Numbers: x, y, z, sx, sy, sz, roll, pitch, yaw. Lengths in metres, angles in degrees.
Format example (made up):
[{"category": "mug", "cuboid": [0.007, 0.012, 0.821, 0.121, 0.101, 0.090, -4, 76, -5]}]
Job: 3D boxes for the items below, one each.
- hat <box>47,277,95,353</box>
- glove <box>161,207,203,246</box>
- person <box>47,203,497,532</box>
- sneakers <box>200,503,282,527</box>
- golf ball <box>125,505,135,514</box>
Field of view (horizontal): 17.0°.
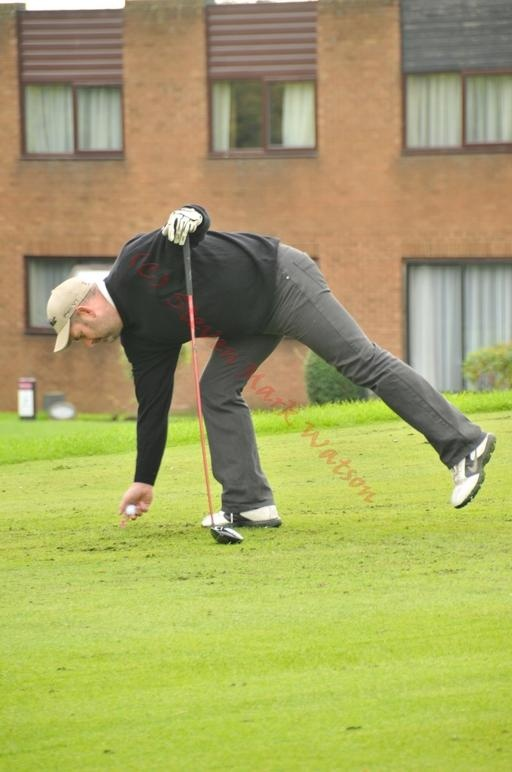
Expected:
[{"category": "hat", "cuboid": [-0.731, -0.288, 6.650, 0.186, 0.283, 0.251, -3, 8, -7]}, {"category": "glove", "cuboid": [-0.289, -0.619, 6.511, 0.159, 0.145, 0.135, -2, 8, -2]}, {"category": "person", "cuboid": [0.098, -0.056, 6.745, 1.800, 1.224, 1.084, -2, -5, -14]}, {"category": "sneakers", "cuboid": [-0.068, 0.537, 7.222, 0.336, 0.140, 0.124, 2, -3, 4]}, {"category": "golf ball", "cuboid": [-0.504, 0.467, 6.678, 0.036, 0.032, 0.028, -3, -3, 8]}]
